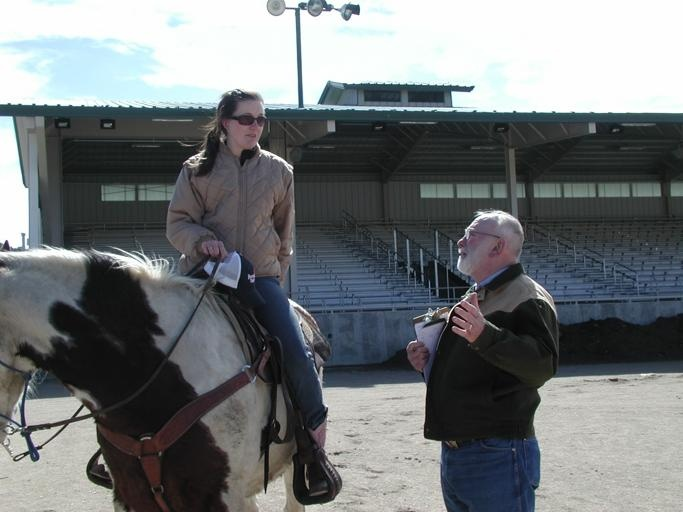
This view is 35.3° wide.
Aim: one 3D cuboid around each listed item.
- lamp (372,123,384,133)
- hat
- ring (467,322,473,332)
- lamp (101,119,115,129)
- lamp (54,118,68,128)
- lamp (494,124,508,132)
[{"bbox_3d":[0.876,-3.093,26.014,0.346,0.114,0.347,0,-7,0],"label":"lamp"},{"bbox_3d":[-1.179,0.270,12.131,0.435,0.431,0.692,-34,-41,-4],"label":"hat"},{"bbox_3d":[1.407,0.781,11.772,0.100,0.101,0.030,2,-1,9],"label":"ring"},{"bbox_3d":[-5.199,-2.893,23.808,0.225,0.144,0.225,-3,1,-5],"label":"lamp"},{"bbox_3d":[-6.093,-2.880,23.428,0.215,0.159,0.217,0,-9,-8],"label":"lamp"},{"bbox_3d":[3.909,-3.101,26.406,0.213,0.051,0.197,1,-28,-1],"label":"lamp"}]
